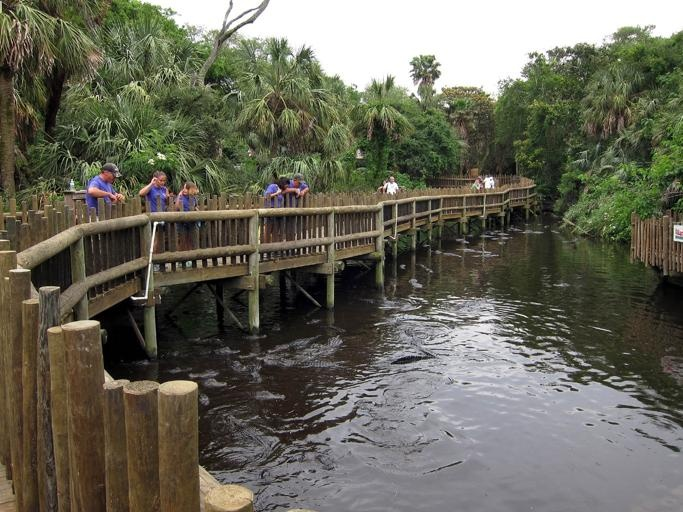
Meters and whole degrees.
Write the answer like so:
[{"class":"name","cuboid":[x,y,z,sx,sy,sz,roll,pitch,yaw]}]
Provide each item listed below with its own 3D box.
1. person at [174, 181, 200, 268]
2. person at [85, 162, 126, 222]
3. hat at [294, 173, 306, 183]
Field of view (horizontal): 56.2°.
[{"class":"person","cuboid":[-2.882,-0.524,12.049,0.410,1.671,1.935,-2,10,-14]},{"class":"person","cuboid":[-4.322,-0.906,11.771,0.656,1.599,0.661,1,1,31]},{"class":"hat","cuboid":[-0.998,-1.848,15.014,0.185,0.206,0.266,24,13,20]}]
